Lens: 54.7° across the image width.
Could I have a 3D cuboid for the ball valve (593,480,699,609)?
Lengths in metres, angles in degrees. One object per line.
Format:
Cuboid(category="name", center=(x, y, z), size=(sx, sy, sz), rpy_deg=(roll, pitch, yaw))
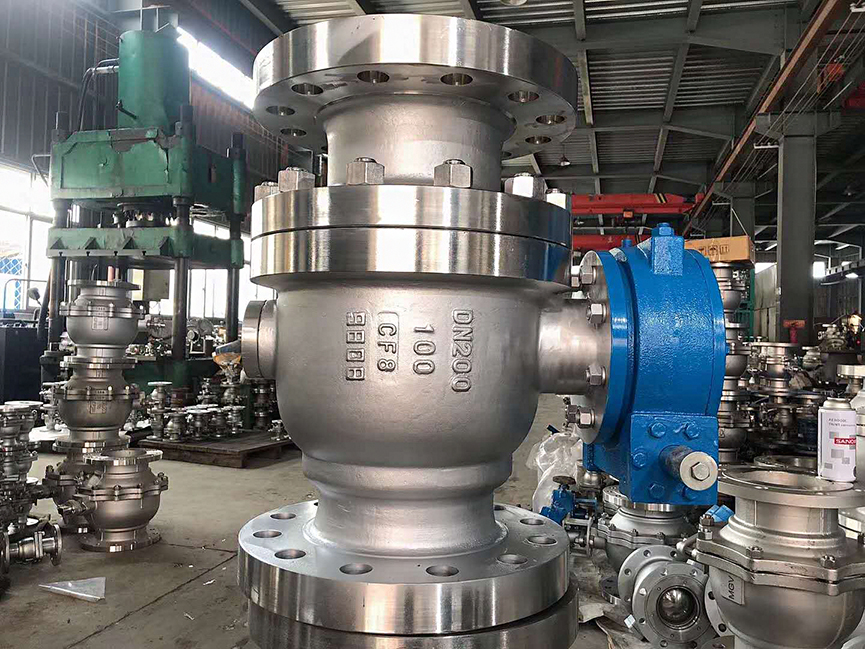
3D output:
Cuboid(category="ball valve", center=(0.932, 0.912, 3.790), size=(0.569, 0.466, 0.564), rpy_deg=(1, 0, 19))
